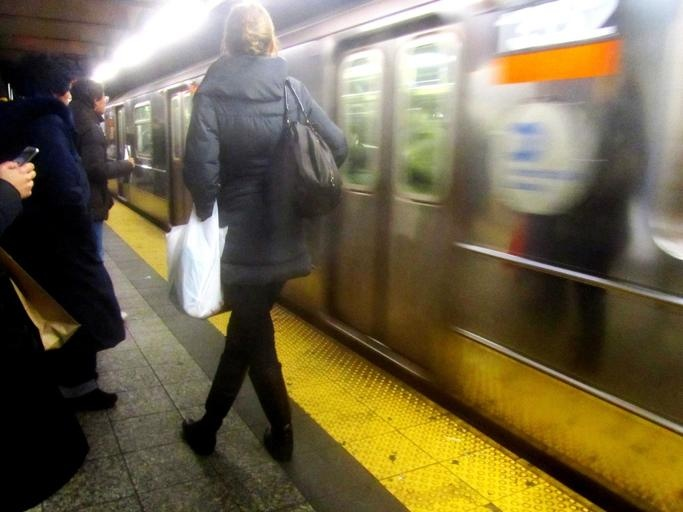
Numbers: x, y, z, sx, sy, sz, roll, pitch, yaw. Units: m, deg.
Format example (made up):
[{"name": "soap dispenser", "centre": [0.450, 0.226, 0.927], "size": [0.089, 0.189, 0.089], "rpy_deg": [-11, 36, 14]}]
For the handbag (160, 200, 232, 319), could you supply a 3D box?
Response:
[{"name": "handbag", "centre": [-0.721, 0.007, 2.284], "size": [0.356, 0.523, 0.196], "rpy_deg": [11, 16, 28]}]

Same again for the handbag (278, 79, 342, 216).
[{"name": "handbag", "centre": [-0.161, -0.496, 2.245], "size": [0.274, 0.618, 0.324], "rpy_deg": [-4, 16, -26]}]

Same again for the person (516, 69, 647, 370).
[{"name": "person", "centre": [1.110, -0.133, 2.287], "size": [0.111, 1.307, 0.481], "rpy_deg": [-7, 17, -33]}]
